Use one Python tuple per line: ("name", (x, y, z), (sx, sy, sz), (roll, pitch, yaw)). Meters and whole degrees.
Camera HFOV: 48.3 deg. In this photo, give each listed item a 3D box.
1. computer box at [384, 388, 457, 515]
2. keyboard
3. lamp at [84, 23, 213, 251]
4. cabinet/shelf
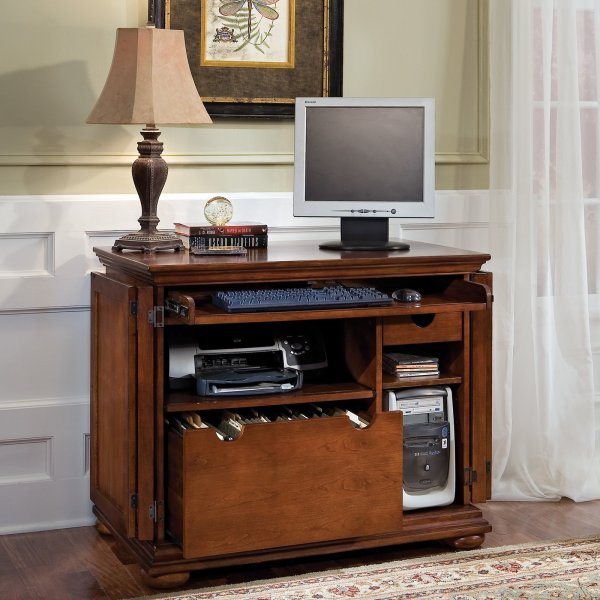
("computer box", (0.339, 0.462, 2.104), (0.250, 0.361, 0.217), (2, -5, -25))
("keyboard", (-0.012, -0.012, 1.889), (0.474, 0.073, 0.374), (-1, 1, -12))
("lamp", (-0.438, -0.482, 1.955), (0.352, 0.680, 0.217), (-1, 1, -16))
("cabinet/shelf", (0.011, 0.301, 2.084), (1.237, 0.834, 0.690), (0, 2, -28))
